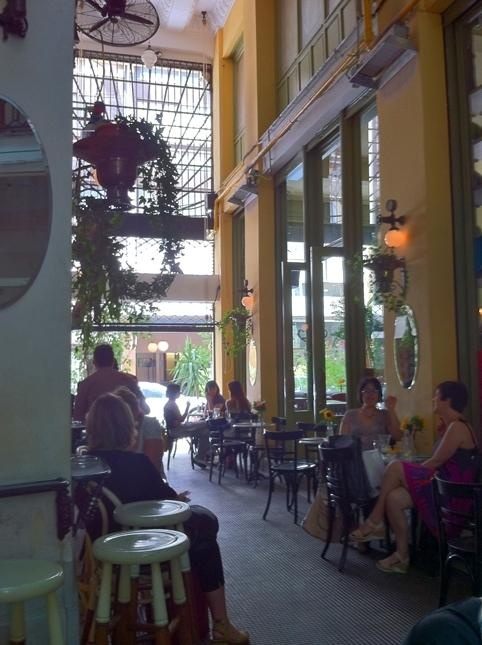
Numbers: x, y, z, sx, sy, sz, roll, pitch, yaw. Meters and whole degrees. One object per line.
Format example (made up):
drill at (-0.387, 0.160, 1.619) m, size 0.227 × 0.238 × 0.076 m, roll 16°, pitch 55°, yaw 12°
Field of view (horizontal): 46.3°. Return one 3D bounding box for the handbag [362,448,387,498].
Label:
handbag at (0.884, 0.998, 3.761) m, size 0.068 × 0.284 × 0.196 m, roll 0°, pitch 2°, yaw -13°

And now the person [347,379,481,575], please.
person at (1.119, 0.961, 3.538) m, size 0.360 × 1.178 × 0.809 m, roll 5°, pitch -9°, yaw -42°

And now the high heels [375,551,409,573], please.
high heels at (0.965, 1.515, 3.617) m, size 0.170 × 0.123 × 0.098 m, roll 2°, pitch -7°, yaw 14°

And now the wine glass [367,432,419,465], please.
wine glass at (1.090, 0.898, 4.005) m, size 0.250 × 0.173 × 0.264 m, roll 0°, pitch -2°, yaw -2°

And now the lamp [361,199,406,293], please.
lamp at (1.223, -0.646, 4.934) m, size 0.320 × 0.838 × 0.415 m, roll 0°, pitch -6°, yaw -6°

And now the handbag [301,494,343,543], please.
handbag at (0.583, 1.383, 4.067) m, size 0.281 × 0.345 × 0.139 m, roll -2°, pitch -6°, yaw 5°

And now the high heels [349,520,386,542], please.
high heels at (0.837, 1.367, 3.724) m, size 0.229 × 0.111 × 0.113 m, roll -1°, pitch -7°, yaw -3°

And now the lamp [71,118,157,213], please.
lamp at (-0.484, -0.547, 2.119) m, size 0.278 × 0.278 × 0.287 m, roll -2°, pitch -1°, yaw -28°
